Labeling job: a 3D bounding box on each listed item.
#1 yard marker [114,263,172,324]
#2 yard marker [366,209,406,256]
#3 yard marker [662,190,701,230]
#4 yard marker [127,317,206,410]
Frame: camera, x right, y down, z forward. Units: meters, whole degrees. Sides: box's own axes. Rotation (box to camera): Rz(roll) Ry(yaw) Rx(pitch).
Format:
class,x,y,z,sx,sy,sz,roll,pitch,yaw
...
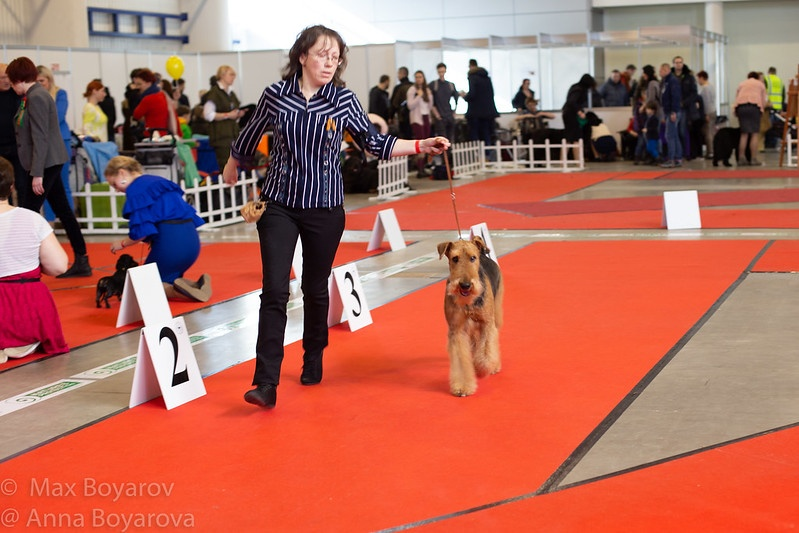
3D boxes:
class,x,y,z,sx,sy,sz,roll,pitch,yaw
yard marker,-2.232,0.233,5.829,0.397,0.616,0.450,5,10,31
yard marker,-0.222,-0.488,9.015,0.519,0.816,0.646,-2,5,18
yard marker,3.917,-0.776,9.421,0.618,0.671,0.388,0,3,2
yard marker,-1.571,0.670,4.547,0.361,0.606,0.497,-2,6,26
